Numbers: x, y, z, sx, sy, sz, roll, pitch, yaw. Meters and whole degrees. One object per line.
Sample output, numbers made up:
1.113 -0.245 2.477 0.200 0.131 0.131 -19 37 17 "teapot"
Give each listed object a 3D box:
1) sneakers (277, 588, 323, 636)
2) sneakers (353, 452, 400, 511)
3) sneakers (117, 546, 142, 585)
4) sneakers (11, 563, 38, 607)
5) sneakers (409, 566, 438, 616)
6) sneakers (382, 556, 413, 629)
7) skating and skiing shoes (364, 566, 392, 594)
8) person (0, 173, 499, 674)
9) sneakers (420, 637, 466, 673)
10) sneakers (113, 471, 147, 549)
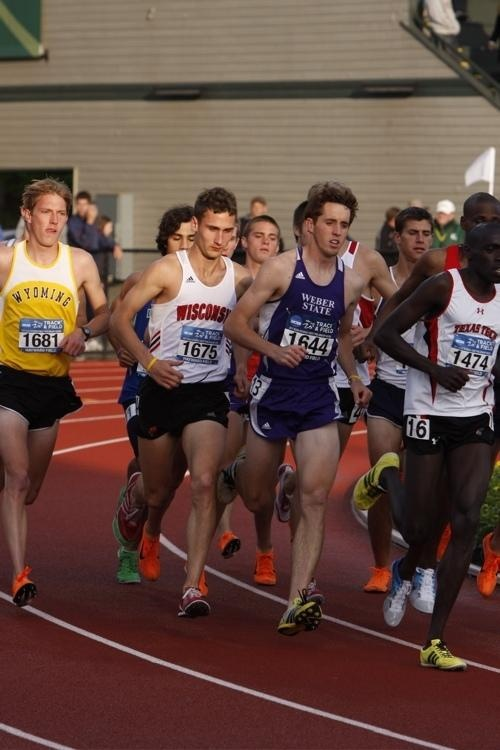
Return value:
0.255 0.973 3.113 0.131 0.150 0.332 24 -35 -12 "sneakers"
0.705 0.579 3.977 0.165 0.198 0.440 30 -31 -2 "sneakers"
-0.728 1.148 4.470 0.102 0.116 0.291 1 -1 -14 "sneakers"
-1.082 1.003 3.550 0.112 0.102 0.232 -28 -11 -27 "sneakers"
0.901 1.076 3.831 0.147 0.141 0.381 12 13 5 "sneakers"
0.726 1.086 3.743 0.128 0.366 0.154 14 -12 -6 "sneakers"
0.782 1.231 4.567 0.105 0.095 0.241 0 -3 11 "skating and skiing shoes"
-0.080 0.099 3.600 1.307 1.998 0.583 -1 -8 33 "person"
0.758 1.108 2.986 0.095 0.111 0.248 0 -9 -32 "sneakers"
-0.686 0.780 4.472 0.187 0.459 0.217 6 8 -2 "sneakers"
